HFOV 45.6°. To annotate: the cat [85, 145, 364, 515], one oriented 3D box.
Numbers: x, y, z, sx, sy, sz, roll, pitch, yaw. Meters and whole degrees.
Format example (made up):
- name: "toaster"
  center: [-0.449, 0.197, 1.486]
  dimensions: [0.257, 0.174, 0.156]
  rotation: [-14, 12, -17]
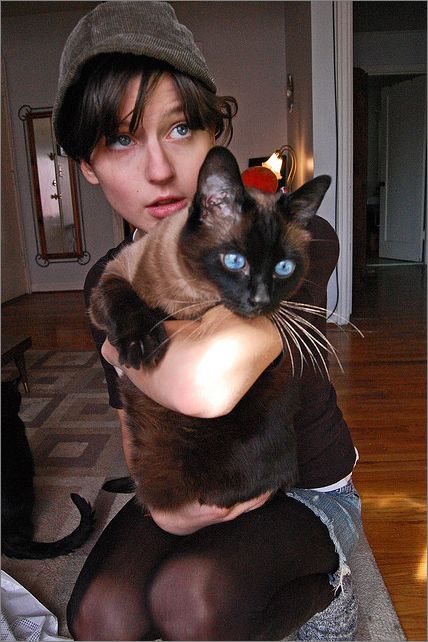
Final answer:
- name: "cat"
  center: [0.000, 0.043, 0.671]
  dimensions: [0.313, 0.498, 0.221]
  rotation: [-6, 12, -11]
